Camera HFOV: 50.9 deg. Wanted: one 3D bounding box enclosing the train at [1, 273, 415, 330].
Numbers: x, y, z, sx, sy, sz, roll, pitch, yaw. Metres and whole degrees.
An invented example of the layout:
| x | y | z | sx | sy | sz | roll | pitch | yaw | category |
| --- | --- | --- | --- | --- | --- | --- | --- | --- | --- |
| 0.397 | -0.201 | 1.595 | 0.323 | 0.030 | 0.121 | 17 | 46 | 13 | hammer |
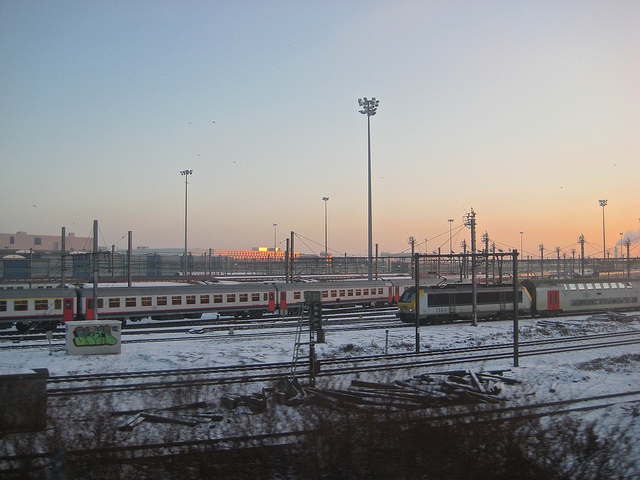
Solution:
| x | y | z | sx | sy | sz | roll | pitch | yaw | category |
| --- | --- | --- | --- | --- | --- | --- | --- | --- | --- |
| -8.339 | 4.869 | 51.473 | 26.460 | 3.855 | 3.588 | -1 | 0 | -26 | train |
